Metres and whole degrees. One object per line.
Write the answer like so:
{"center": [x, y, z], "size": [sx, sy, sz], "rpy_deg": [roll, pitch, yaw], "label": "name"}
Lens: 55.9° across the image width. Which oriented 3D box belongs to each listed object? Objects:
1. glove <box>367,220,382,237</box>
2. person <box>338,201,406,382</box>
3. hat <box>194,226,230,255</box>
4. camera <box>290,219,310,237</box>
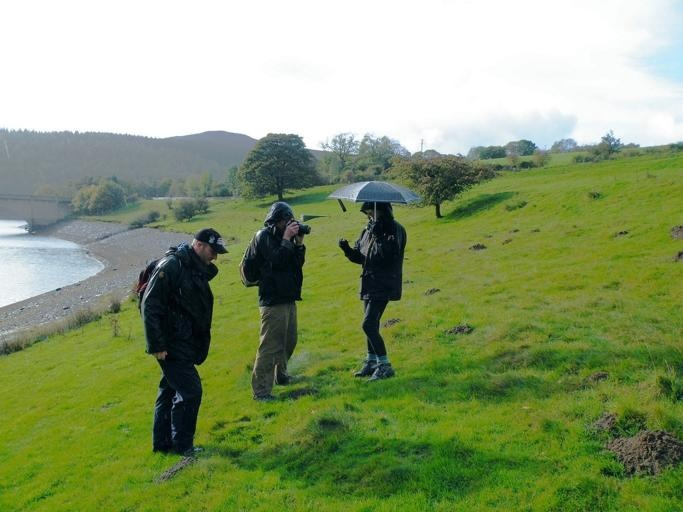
{"center": [0.826, -0.686, 16.017], "size": [0.329, 0.348, 0.339], "rpy_deg": [-4, 8, 11], "label": "glove"}
{"center": [0.931, 0.837, 16.197], "size": [1.296, 4.359, 0.986], "rpy_deg": [1, 9, 15], "label": "person"}
{"center": [-2.861, -0.344, 14.433], "size": [0.737, 0.476, 0.523], "rpy_deg": [29, 2, -6], "label": "hat"}
{"center": [-0.960, -0.687, 15.685], "size": [0.382, 0.272, 0.368], "rpy_deg": [2, -5, 27], "label": "camera"}
